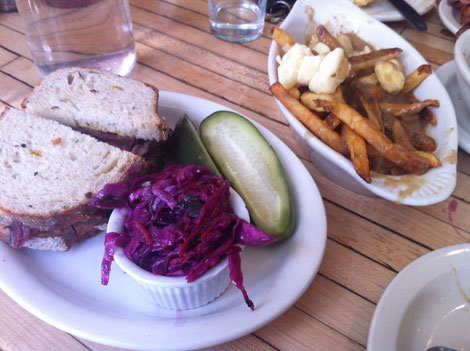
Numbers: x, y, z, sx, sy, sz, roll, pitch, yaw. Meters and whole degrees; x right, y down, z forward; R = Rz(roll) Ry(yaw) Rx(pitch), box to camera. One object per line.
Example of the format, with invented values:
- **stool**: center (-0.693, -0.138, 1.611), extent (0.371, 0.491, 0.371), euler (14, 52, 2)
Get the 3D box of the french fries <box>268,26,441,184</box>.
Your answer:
- **french fries**: center (0.354, -0.216, 1.336), extent (0.356, 0.145, 0.585), euler (0, 52, -16)
